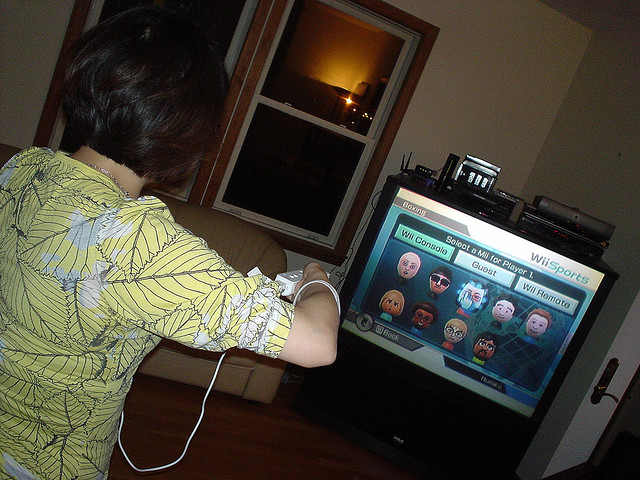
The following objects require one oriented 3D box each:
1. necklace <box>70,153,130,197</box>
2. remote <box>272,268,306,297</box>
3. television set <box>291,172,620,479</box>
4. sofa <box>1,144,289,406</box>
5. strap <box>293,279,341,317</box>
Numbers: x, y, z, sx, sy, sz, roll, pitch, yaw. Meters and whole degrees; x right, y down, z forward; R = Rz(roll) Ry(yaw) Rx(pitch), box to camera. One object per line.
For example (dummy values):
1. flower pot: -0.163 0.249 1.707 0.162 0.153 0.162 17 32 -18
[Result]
1. necklace: -0.495 -0.135 1.100 0.111 0.110 0.031 35 20 -4
2. remote: -0.089 0.114 1.328 0.048 0.023 0.097 23 31 31
3. television set: 0.818 0.548 2.686 1.297 1.551 0.541 27 6 6
4. sofa: -1.180 0.552 3.991 2.848 1.430 1.227 16 -26 -18
5. strap: -0.004 0.153 1.329 0.123 0.080 0.209 20 9 -1
